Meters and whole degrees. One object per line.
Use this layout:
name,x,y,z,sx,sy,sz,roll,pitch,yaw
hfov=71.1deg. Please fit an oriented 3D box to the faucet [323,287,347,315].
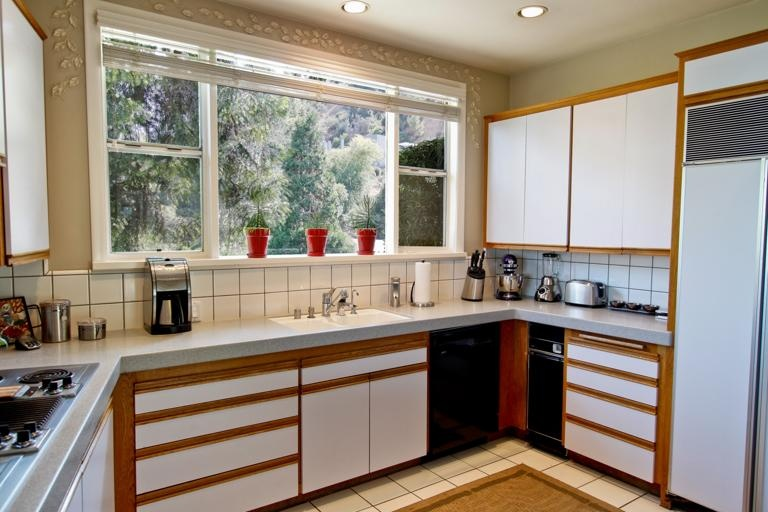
faucet,-0.399,0.366,4.439,0.214,0.209,0.243,0,5,-4

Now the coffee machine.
coffee machine,-1.491,0.279,3.726,0.278,0.504,0.140,-1,5,-17

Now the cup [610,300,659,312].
cup,2.089,0.424,4.505,0.169,0.068,0.412,-4,7,-43

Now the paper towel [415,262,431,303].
paper towel,0.333,0.238,4.726,0.136,0.369,0.115,0,5,-3

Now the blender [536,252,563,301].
blender,1.548,0.191,5.038,0.229,0.446,0.317,2,6,21

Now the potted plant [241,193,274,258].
potted plant,-0.977,-0.255,4.224,0.227,0.526,0.184,-3,6,-30

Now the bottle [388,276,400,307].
bottle,0.096,0.310,4.737,0.102,0.245,0.208,0,5,0

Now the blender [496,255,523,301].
blender,1.217,0.201,5.218,0.344,0.414,0.331,2,1,-7

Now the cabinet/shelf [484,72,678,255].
cabinet/shelf,1.692,-0.752,4.530,0.604,1.277,1.815,3,-1,-42

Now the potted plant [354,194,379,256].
potted plant,-0.156,-0.279,4.711,0.189,0.528,0.228,0,5,-4

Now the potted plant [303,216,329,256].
potted plant,-0.552,-0.181,4.484,0.217,0.355,0.228,-1,5,-16

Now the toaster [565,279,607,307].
toaster,1.763,0.316,4.754,0.226,0.286,0.405,4,-2,-38

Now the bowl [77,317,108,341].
bowl,-1.953,0.482,3.606,0.154,0.106,0.150,1,4,0
